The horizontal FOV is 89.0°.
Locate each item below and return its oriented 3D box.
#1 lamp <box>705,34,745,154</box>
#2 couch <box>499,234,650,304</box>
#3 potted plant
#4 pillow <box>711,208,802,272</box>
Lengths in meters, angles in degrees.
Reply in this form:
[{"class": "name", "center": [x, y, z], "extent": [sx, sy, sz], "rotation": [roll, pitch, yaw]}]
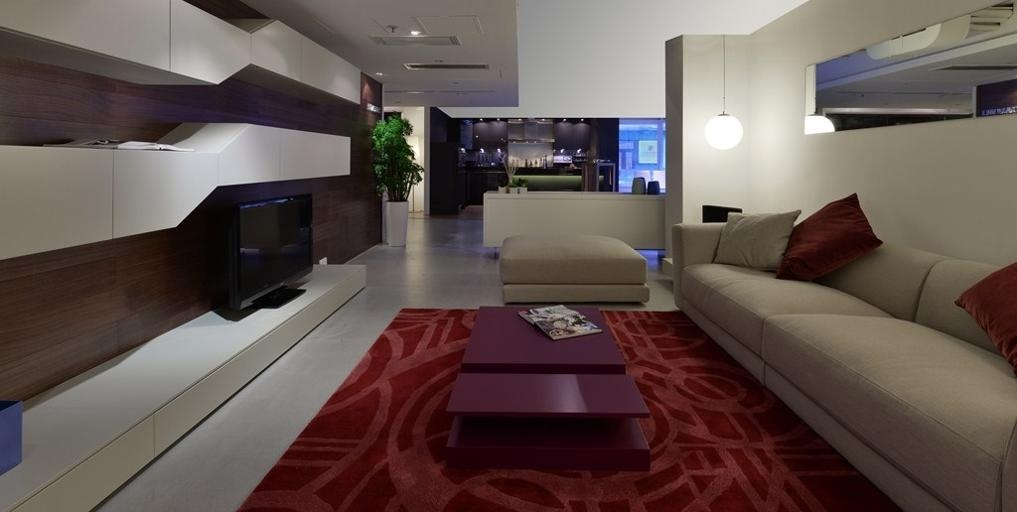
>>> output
[{"class": "lamp", "center": [3.118, -2.316, 7.336], "extent": [0.548, 1.610, 0.632], "rotation": [4, 15, 21]}, {"class": "couch", "center": [0.824, 0.215, 6.754], "extent": [1.848, 0.700, 0.759], "rotation": [-1, 13, -2]}, {"class": "potted plant", "center": [-2.214, -1.404, 9.798], "extent": [1.100, 2.245, 0.982], "rotation": [-1, 9, -25]}, {"class": "pillow", "center": [2.810, -0.186, 5.939], "extent": [0.403, 0.658, 0.843], "rotation": [-4, 5, -28]}]
